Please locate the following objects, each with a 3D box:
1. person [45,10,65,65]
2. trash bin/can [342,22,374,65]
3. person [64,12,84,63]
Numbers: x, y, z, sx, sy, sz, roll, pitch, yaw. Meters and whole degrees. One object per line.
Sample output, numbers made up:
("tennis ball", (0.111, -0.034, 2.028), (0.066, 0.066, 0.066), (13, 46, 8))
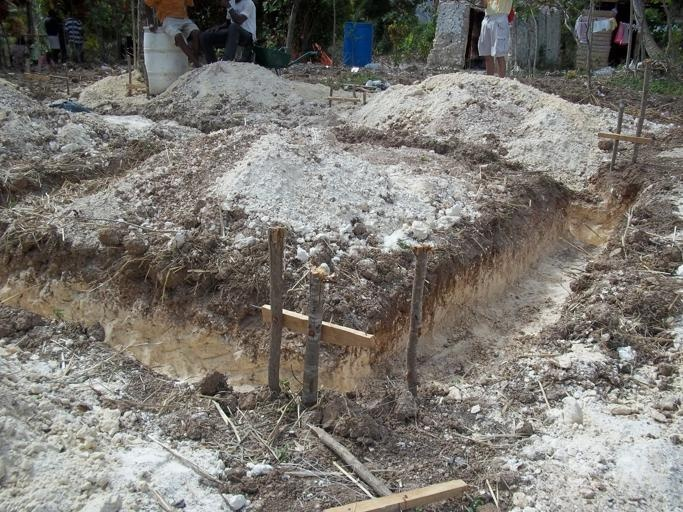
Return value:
("person", (-6.973, -5.345, 16.225), (0.413, 1.204, 0.940), (-10, 22, -22))
("trash bin/can", (0.372, -4.690, 14.789), (0.638, 0.901, 0.986), (-15, 24, -31))
("person", (-6.605, -5.365, 16.468), (0.393, 1.153, 1.087), (-8, 21, -18))
